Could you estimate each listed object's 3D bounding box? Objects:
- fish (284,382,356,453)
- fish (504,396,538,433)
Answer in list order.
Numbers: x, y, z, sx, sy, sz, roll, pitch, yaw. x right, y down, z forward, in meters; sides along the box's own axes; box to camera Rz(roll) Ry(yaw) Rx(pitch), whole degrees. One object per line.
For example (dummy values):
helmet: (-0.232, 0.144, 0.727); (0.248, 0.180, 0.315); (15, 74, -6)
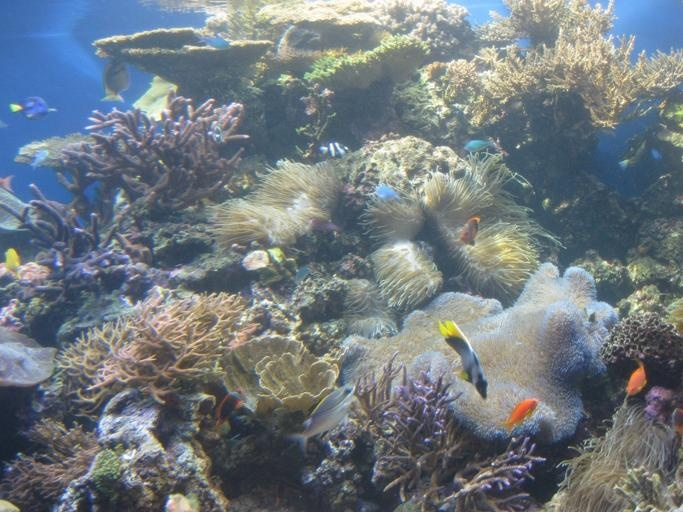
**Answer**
fish: (-0.215, 1.885, 8.364); (0.795, 0.657, 0.248); (-22, 54, -23)
fish: (2.183, 1.943, 8.564); (0.221, 0.506, 0.126); (47, 14, -10)
